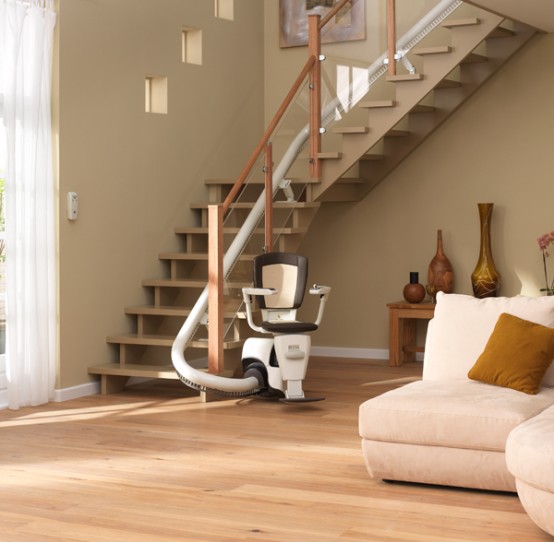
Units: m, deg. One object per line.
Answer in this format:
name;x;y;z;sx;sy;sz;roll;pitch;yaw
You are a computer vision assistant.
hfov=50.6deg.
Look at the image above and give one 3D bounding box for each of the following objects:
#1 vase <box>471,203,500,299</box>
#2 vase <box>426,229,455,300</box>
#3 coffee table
vase;2.090;-0.231;5.883;0.283;0.850;0.379;-2;-1;18
vase;1.669;-0.083;6.026;0.305;0.599;0.207;-1;-1;-38
coffee table;1.310;0.636;6.062;0.613;0.600;0.603;-1;-1;11
